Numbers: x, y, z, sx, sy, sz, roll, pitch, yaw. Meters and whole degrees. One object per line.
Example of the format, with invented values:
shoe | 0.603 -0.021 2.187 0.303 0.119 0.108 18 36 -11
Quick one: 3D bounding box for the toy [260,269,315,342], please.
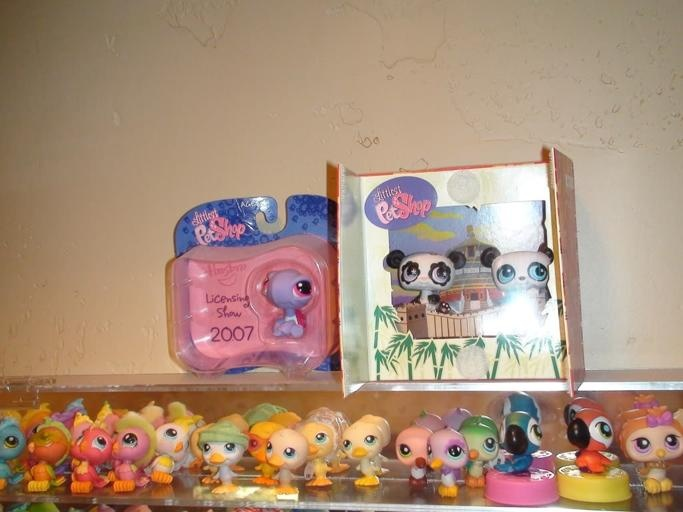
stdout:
toy | -0.181 0.177 2.173 0.241 0.294 0.166 0 1 19
